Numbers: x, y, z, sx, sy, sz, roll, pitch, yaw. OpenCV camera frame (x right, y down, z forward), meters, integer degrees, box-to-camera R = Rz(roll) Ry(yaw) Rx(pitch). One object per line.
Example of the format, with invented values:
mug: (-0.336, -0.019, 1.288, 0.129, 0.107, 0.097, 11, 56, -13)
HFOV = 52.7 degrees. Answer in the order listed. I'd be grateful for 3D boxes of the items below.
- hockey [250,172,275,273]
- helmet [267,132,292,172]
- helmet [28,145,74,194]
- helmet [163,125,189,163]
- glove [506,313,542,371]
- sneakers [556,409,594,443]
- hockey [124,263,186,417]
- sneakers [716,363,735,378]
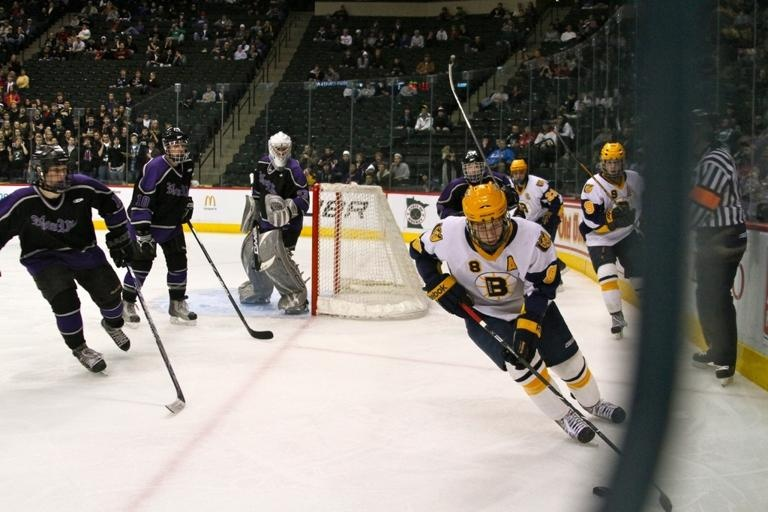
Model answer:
hockey: (-1.215, -0.334, 7.678, 0.258, 0.954, 0.298, 0, 0, 3)
helmet: (-1.031, -1.041, 7.720, 0.207, 0.345, 0.281, -3, 13, -10)
helmet: (-2.406, -0.625, 5.532, 0.362, 0.338, 0.280, 11, 11, 42)
helmet: (-1.870, -0.999, 7.025, 0.206, 0.310, 0.285, -4, 13, -16)
glove: (0.857, 0.491, 4.580, 0.125, 0.305, 0.183, 21, -21, -2)
sneakers: (1.152, 1.037, 4.731, 0.071, 0.210, 0.084, -25, -19, -50)
hockey: (-1.846, 0.689, 6.306, 0.191, 0.133, 1.605, -15, 38, -25)
sneakers: (2.325, 0.783, 5.330, 0.121, 0.090, 0.088, 6, -4, 21)
